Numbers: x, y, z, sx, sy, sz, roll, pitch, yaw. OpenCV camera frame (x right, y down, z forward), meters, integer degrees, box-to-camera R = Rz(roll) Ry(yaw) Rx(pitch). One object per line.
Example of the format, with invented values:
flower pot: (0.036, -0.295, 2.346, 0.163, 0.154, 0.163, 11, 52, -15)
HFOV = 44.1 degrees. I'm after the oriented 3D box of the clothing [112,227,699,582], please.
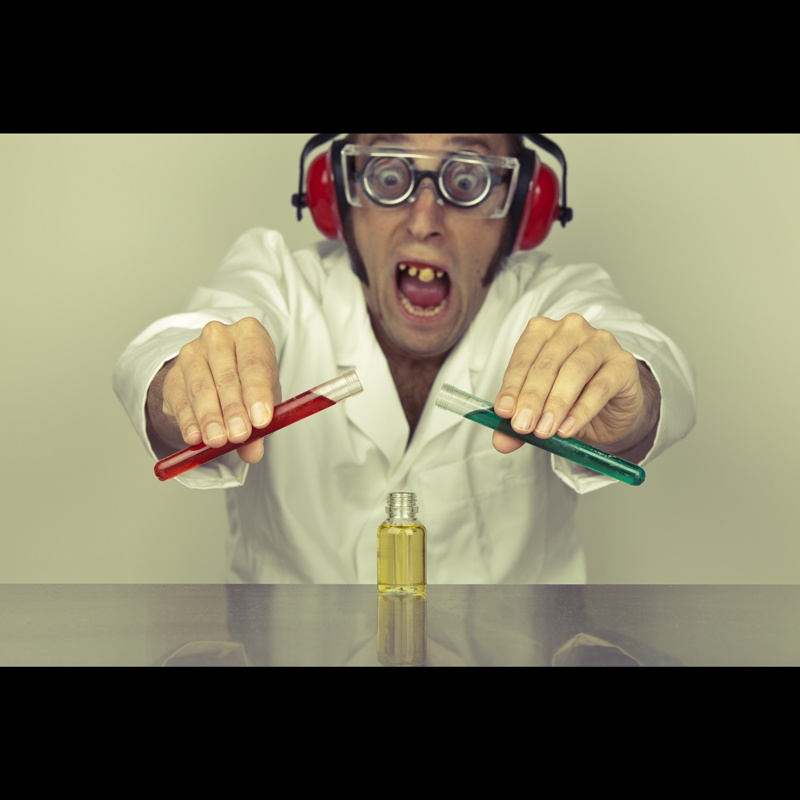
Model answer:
clothing: (0.003, 0.141, 2.033, 0.942, 1.021, 0.532, 1, 2, -8)
